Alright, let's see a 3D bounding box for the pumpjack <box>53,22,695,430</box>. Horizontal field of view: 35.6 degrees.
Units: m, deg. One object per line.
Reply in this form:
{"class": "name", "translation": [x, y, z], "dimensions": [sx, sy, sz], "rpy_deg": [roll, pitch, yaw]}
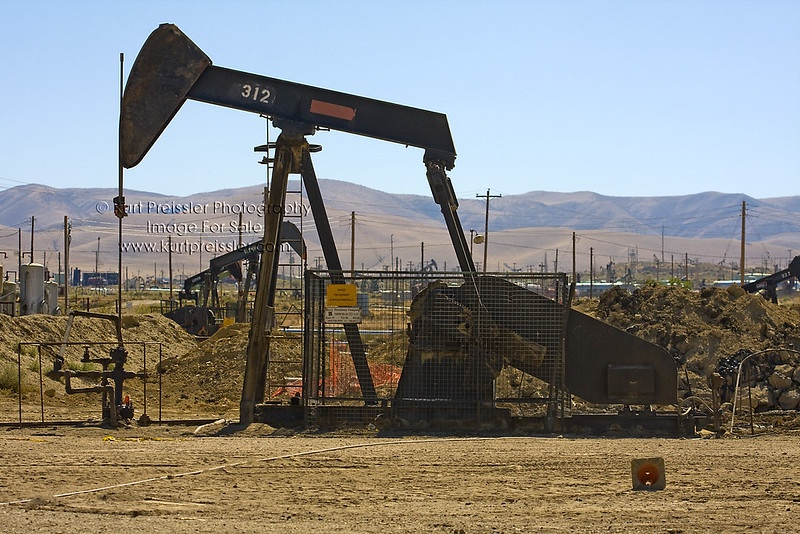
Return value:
{"class": "pumpjack", "translation": [-0.181, -1.084, 32.843], "dimensions": [13.859, 10.465, 1.512], "rpy_deg": [1, -6, -4]}

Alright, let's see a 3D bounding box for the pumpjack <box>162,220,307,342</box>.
{"class": "pumpjack", "translation": [-7.327, 0.686, 52.198], "dimensions": [9.033, 3.642, 2.604], "rpy_deg": [-11, -8, 36]}

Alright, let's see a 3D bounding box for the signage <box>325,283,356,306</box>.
{"class": "signage", "translation": [-1.567, 0.743, 32.338], "dimensions": [0.609, 0.429, 0.081], "rpy_deg": [1, 1, 3]}
